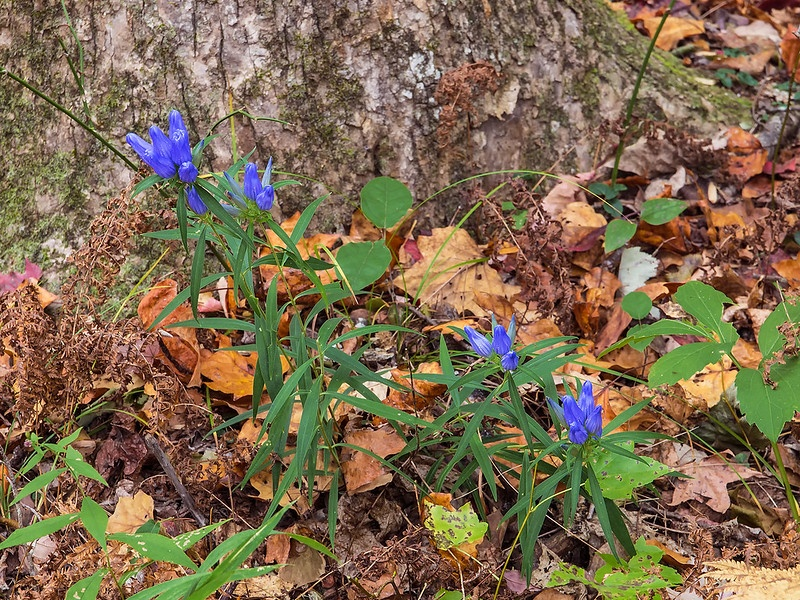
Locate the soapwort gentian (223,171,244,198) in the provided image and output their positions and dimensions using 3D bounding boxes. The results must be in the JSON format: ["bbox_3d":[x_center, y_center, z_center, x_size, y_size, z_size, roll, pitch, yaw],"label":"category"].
[{"bbox_3d":[-0.589,-0.406,2.650,0.051,0.103,0.049,-24,43,-12],"label":"soapwort gentian"}]

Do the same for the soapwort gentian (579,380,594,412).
[{"bbox_3d":[0.661,0.336,2.683,0.054,0.080,0.119,-1,46,13],"label":"soapwort gentian"}]

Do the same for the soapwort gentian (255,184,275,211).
[{"bbox_3d":[-0.485,-0.363,2.666,0.034,0.094,0.037,23,40,-2],"label":"soapwort gentian"}]

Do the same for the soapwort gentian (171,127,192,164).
[{"bbox_3d":[-0.745,-0.512,2.548,0.057,0.085,0.093,-15,44,-1],"label":"soapwort gentian"}]

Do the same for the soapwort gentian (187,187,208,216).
[{"bbox_3d":[-0.707,-0.340,2.599,0.058,0.105,0.039,-16,42,-3],"label":"soapwort gentian"}]

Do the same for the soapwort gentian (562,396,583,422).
[{"bbox_3d":[0.612,0.390,2.658,0.063,0.116,0.062,-17,43,-4],"label":"soapwort gentian"}]

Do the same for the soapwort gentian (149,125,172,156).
[{"bbox_3d":[-0.801,-0.527,2.517,0.064,0.095,0.066,-18,43,-5],"label":"soapwort gentian"}]

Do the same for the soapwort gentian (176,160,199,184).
[{"bbox_3d":[-0.718,-0.426,2.535,0.062,0.074,0.063,9,55,-3],"label":"soapwort gentian"}]

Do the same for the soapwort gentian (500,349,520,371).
[{"bbox_3d":[0.386,0.218,2.677,0.042,0.063,0.039,-23,68,-8],"label":"soapwort gentian"}]
